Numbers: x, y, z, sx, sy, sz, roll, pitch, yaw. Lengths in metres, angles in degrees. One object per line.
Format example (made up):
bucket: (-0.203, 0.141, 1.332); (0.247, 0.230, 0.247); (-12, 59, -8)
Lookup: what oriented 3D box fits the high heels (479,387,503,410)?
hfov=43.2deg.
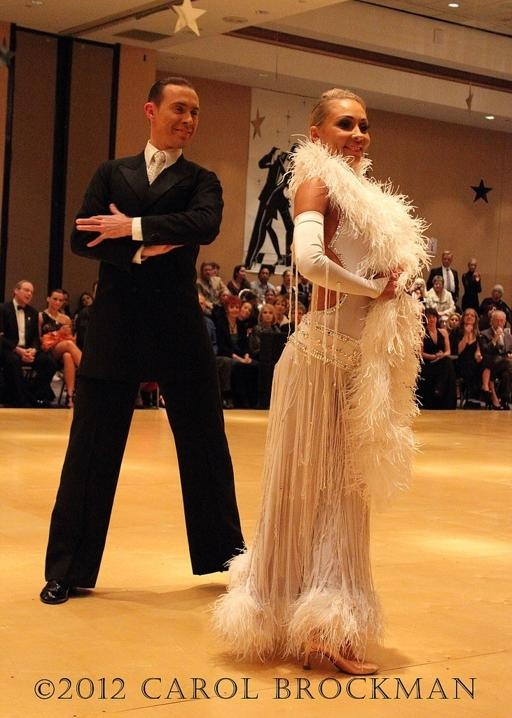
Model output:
high heels: (3.929, 0.674, 10.802); (0.256, 0.540, 0.177); (-2, -8, -13)

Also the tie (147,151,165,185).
tie: (-0.314, -0.598, 2.028); (0.032, 0.112, 0.035); (20, -11, 37)

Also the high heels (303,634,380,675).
high heels: (0.190, 0.671, 1.486); (0.218, 0.099, 0.068); (6, -10, -11)

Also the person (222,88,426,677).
person: (0.179, 0.027, 1.537); (0.420, 1.170, 0.348); (7, 3, 12)
